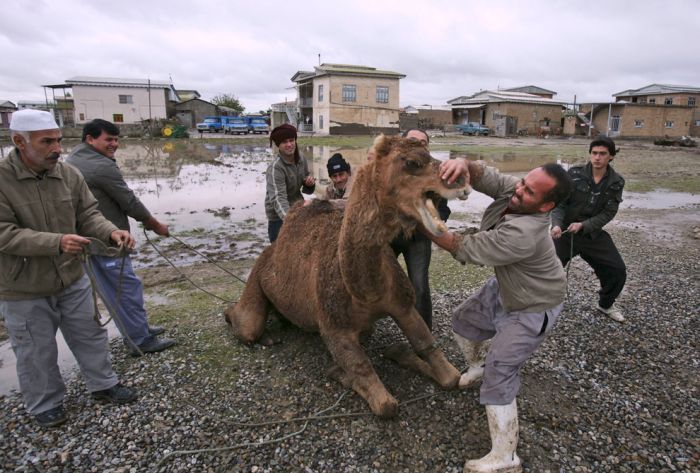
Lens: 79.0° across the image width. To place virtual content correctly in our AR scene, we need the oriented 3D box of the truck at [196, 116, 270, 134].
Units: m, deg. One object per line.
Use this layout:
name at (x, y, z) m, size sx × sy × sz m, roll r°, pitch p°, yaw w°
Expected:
truck at (-12.933, -12.482, 47.653) m, size 7.630 × 2.140 × 3.537 m, roll 5°, pitch 16°, yaw 25°

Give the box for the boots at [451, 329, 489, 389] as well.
boots at (1.315, 1.333, 4.629) m, size 0.461 × 0.562 × 0.394 m, roll -2°, pitch 39°, yaw 5°

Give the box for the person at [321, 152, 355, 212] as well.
person at (-0.152, -0.704, 5.497) m, size 0.396 × 0.873 × 0.400 m, roll -5°, pitch 24°, yaw -12°

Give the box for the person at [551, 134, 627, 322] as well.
person at (3.232, -0.101, 5.995) m, size 1.310 × 2.474 × 1.079 m, roll 5°, pitch 10°, yaw 17°

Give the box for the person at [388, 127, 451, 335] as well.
person at (0.654, 0.114, 4.831) m, size 0.838 × 2.693 × 0.844 m, roll -7°, pitch 22°, yaw -9°
